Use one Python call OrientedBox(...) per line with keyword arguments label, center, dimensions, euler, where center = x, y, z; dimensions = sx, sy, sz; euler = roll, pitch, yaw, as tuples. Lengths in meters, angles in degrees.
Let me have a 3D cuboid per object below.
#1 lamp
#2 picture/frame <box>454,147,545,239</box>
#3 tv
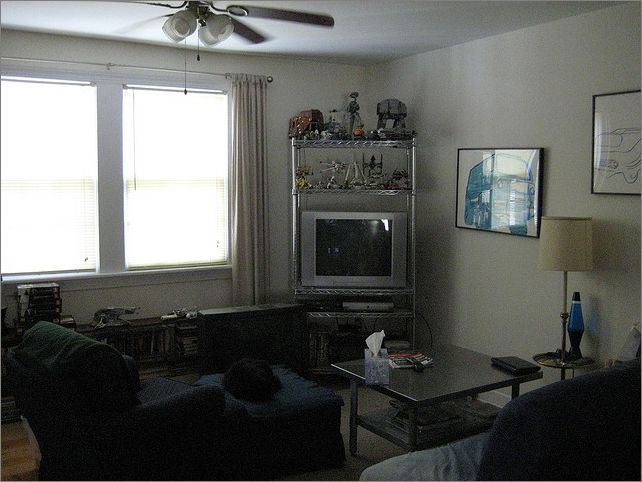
OrientedBox(label="lamp", center=(1.706, 0.329, 3.669), dimensions=(0.339, 1.000, 0.409), euler=(2, 8, 26))
OrientedBox(label="picture/frame", center=(1.483, -0.399, 4.295), dimensions=(0.050, 0.605, 0.756), euler=(-5, 8, -33))
OrientedBox(label="tv", center=(0.299, 0.084, 4.951), dimensions=(1.179, 0.843, 0.632), euler=(0, 0, 0))
